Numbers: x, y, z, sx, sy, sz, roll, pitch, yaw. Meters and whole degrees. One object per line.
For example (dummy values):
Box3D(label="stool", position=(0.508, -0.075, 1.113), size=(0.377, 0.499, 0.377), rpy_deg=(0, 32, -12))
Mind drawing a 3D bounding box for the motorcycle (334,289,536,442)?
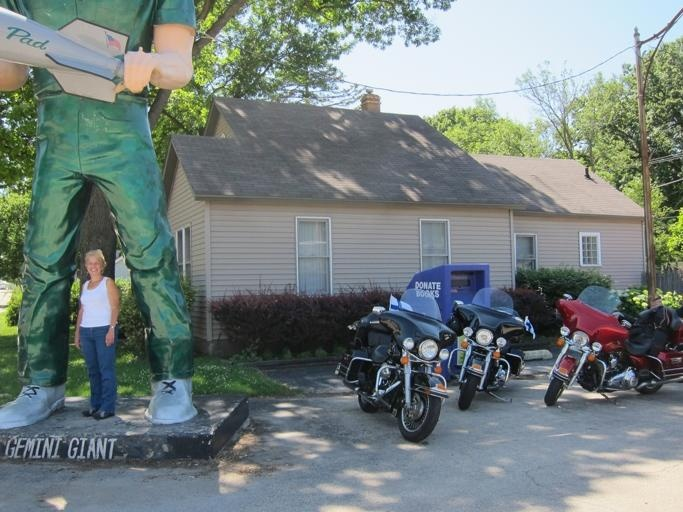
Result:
Box3D(label="motorcycle", position=(0.784, 1.331, 7.776), size=(1.118, 1.747, 1.882), rpy_deg=(0, -1, -13))

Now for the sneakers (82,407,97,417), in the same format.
Box3D(label="sneakers", position=(-2.823, 1.750, 6.661), size=(0.080, 0.091, 0.221), rpy_deg=(4, -11, -23))

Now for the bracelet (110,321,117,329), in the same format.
Box3D(label="bracelet", position=(-2.603, 0.792, 6.822), size=(0.061, 0.067, 0.062), rpy_deg=(-3, -4, 29))

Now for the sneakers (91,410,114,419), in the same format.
Box3D(label="sneakers", position=(-2.623, 1.749, 6.566), size=(0.225, 0.090, 0.081), rpy_deg=(11, -9, -30))
